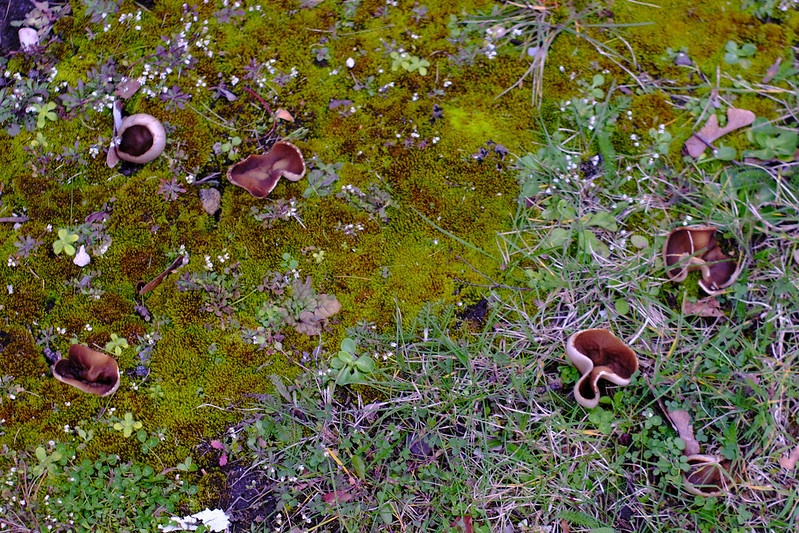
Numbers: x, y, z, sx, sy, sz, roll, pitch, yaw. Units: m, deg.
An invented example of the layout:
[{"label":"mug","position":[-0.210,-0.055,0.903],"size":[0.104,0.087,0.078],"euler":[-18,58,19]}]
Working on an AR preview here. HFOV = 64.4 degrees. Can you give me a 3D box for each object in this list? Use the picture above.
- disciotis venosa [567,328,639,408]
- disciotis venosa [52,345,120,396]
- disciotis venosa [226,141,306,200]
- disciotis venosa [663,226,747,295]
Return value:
[{"label":"disciotis venosa","position":[1.145,0.526,3.640],"size":[0.407,0.206,0.462],"euler":[13,64,0]},{"label":"disciotis venosa","position":[-1.890,0.627,3.852],"size":[0.358,0.141,0.311],"euler":[30,78,-7]},{"label":"disciotis venosa","position":[-0.812,-0.597,3.900],"size":[0.430,0.103,0.322],"euler":[-22,87,-2]},{"label":"disciotis venosa","position":[1.777,-0.063,3.717],"size":[0.469,0.208,0.364],"euler":[20,76,11]}]
